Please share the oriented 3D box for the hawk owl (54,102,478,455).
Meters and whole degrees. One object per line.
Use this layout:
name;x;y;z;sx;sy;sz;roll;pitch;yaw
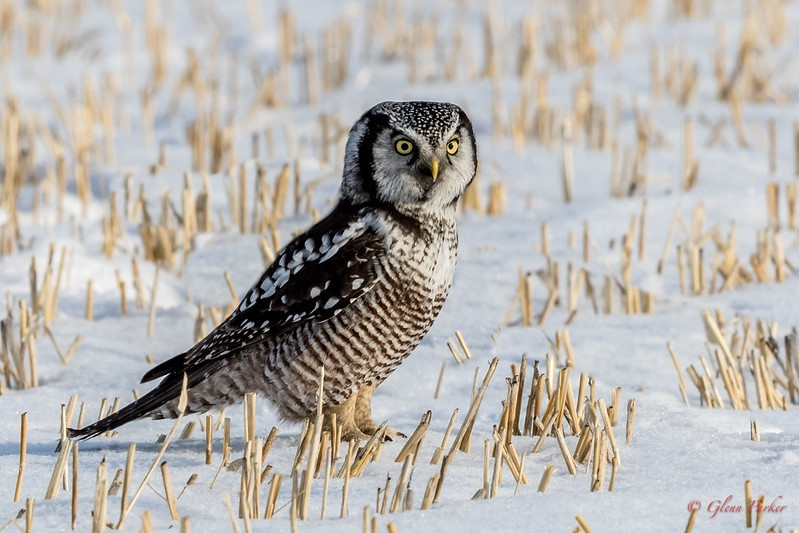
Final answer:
hawk owl;-0.915;0.171;10.262;3.324;2.401;1.254;-5;-4;15
